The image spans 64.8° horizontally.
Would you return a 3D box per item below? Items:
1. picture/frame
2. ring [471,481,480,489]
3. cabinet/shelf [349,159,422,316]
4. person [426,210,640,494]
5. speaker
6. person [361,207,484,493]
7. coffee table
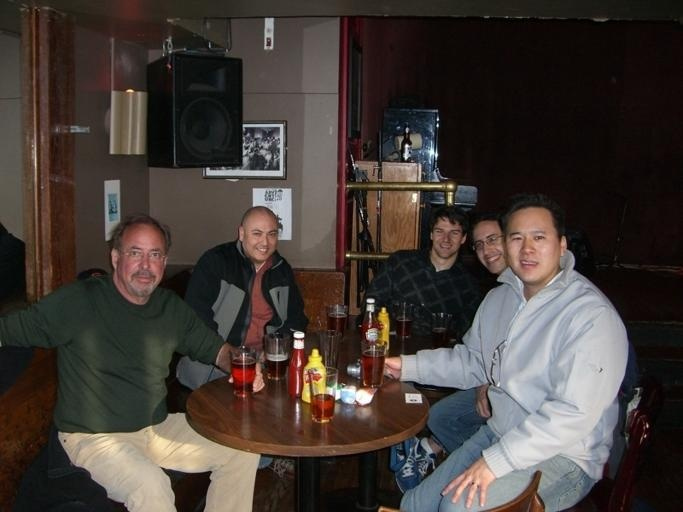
[{"bbox_3d":[-0.731,-0.827,4.128,0.437,0.332,0.020,2,9,3],"label":"picture/frame"},{"bbox_3d":[0.550,0.948,2.217,0.026,0.008,0.026,-2,11,0],"label":"ring"},{"bbox_3d":[0.497,-0.484,5.944,0.676,1.983,1.083,2,41,3],"label":"cabinet/shelf"},{"bbox_3d":[0.965,0.573,3.164,1.080,1.801,0.947,10,8,-5],"label":"person"},{"bbox_3d":[-1.059,-1.023,3.851,0.632,0.734,0.636,7,13,28],"label":"speaker"},{"bbox_3d":[0.636,0.773,4.056,0.997,2.561,0.795,8,29,14],"label":"person"},{"bbox_3d":[-0.214,0.871,2.421,0.745,0.526,0.749,-1,6,-20],"label":"coffee table"}]
